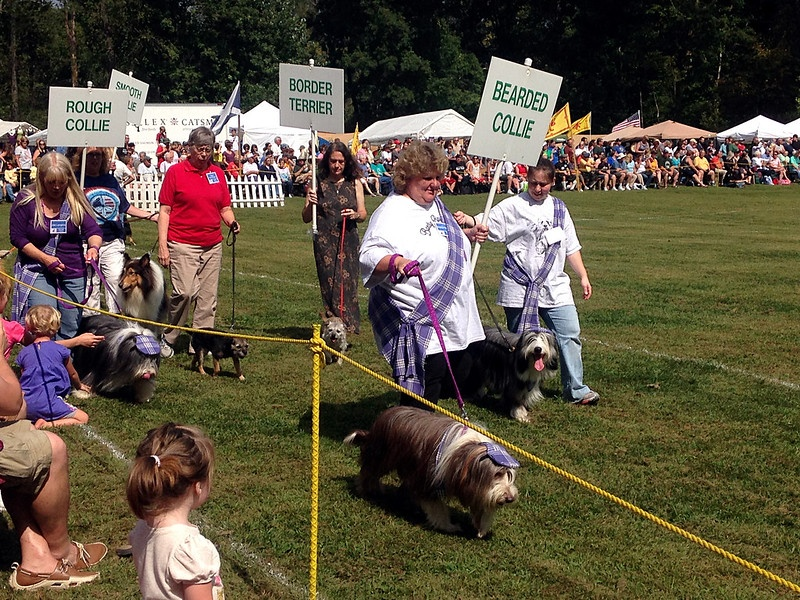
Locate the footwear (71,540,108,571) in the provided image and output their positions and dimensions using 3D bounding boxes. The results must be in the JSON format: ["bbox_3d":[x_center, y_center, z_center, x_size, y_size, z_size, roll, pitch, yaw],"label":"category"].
[{"bbox_3d":[-2.394,1.960,6.405,0.238,0.098,0.167,-9,45,-19],"label":"footwear"}]

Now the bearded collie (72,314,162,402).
[{"bbox_3d":[-3.311,0.719,9.183,1.155,0.735,0.624,9,-9,1],"label":"bearded collie"}]

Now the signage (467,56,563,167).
[{"bbox_3d":[1.147,-1.910,8.447,0.877,1.036,0.485,4,7,-1],"label":"signage"}]

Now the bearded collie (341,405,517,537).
[{"bbox_3d":[0.227,1.415,7.053,1.503,0.888,0.568,16,16,24],"label":"bearded collie"}]

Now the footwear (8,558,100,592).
[{"bbox_3d":[-2.593,2.066,6.283,0.625,0.264,0.246,0,4,-11],"label":"footwear"}]

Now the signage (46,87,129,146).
[{"bbox_3d":[-3.844,-2.248,10.199,0.705,0.587,0.062,3,-13,-34],"label":"signage"}]

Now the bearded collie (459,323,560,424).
[{"bbox_3d":[1.206,0.709,9.287,0.460,1.021,1.397,-1,13,-32],"label":"bearded collie"}]

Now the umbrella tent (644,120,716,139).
[{"bbox_3d":[12.568,-7.776,38.382,2.049,0.699,2.347,-3,17,-12],"label":"umbrella tent"}]

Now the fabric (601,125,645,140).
[{"bbox_3d":[10.401,-7.665,38.377,1.036,0.536,1.570,-8,8,-23],"label":"fabric"}]

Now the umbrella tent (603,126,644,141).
[{"bbox_3d":[10.361,-7.668,38.447,1.072,0.560,1.639,-8,9,-23],"label":"umbrella tent"}]

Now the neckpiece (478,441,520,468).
[{"bbox_3d":[0.780,1.189,6.552,0.182,0.068,0.249,10,25,-36],"label":"neckpiece"}]
